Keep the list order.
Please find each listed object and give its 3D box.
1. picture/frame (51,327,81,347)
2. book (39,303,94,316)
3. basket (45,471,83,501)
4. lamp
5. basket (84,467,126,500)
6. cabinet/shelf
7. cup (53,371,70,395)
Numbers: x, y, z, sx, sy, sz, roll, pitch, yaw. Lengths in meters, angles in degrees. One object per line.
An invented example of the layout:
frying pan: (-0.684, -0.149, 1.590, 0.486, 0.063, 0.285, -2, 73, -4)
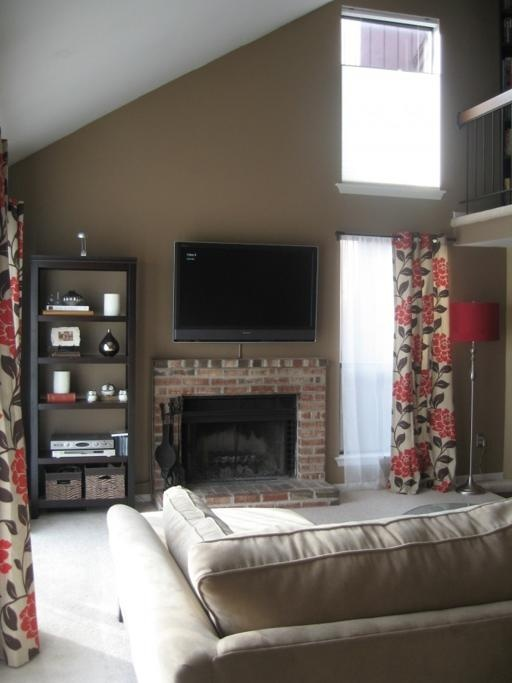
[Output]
picture/frame: (-1.237, -0.030, 4.001, 0.123, 0.101, 0.018, 0, 0, -12)
book: (-1.170, -0.199, 3.839, 0.292, 0.070, 0.101, -4, 2, -20)
basket: (-1.196, 0.913, 3.829, 0.173, 0.120, 0.187, 0, -4, -8)
lamp: (1.650, 0.408, 4.707, 0.349, 1.435, 0.512, -3, 1, 3)
basket: (-0.950, 0.905, 3.881, 0.312, 0.241, 0.181, 1, -4, -9)
cabinet/shelf: (-1.151, 0.061, 4.066, 0.606, 1.468, 0.269, 4, -29, -26)
cup: (-1.236, 0.271, 3.985, 0.127, 0.154, 0.131, 0, -1, 0)
